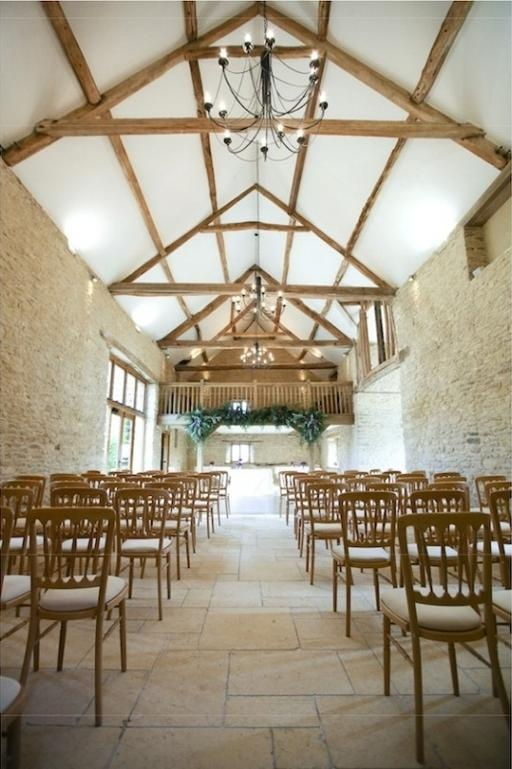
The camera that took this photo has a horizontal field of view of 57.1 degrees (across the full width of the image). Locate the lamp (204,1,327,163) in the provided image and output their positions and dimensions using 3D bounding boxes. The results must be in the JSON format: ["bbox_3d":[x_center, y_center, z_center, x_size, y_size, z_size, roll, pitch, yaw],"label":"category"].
[{"bbox_3d":[0.172,-3.694,5.575,1.470,2.076,1.435,5,-29,-7],"label":"lamp"}]
